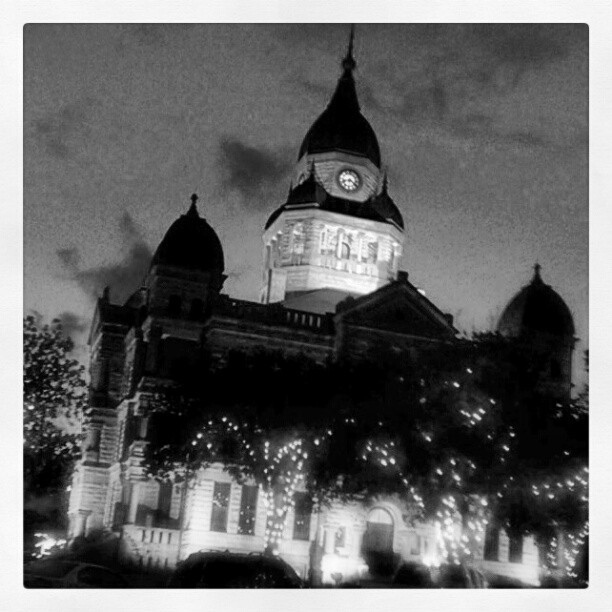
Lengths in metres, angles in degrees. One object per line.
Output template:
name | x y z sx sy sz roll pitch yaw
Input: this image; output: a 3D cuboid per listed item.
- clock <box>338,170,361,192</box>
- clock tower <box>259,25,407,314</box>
clock | 1.501 -4.338 33.227 0.574 0.679 0.045 -10 -8 -22
clock tower | 0.991 -2.588 31.564 4.467 6.327 2.910 6 -15 -4
